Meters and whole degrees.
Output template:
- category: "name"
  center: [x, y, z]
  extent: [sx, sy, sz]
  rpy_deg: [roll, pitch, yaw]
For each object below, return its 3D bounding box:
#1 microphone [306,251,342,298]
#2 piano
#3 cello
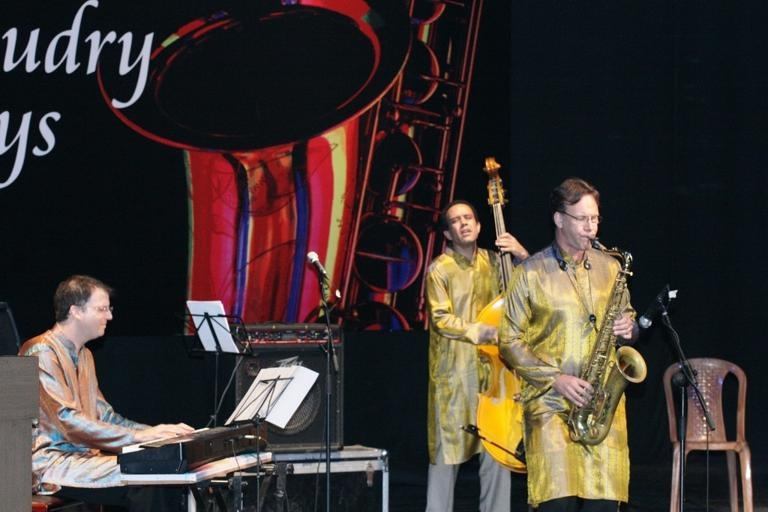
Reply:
- category: "microphone"
  center: [-0.522, 0.165, 10.547]
  extent: [0.147, 0.388, 0.148]
  rpy_deg: [-5, -29, -48]
- category: "piano"
  center: [-1.380, 1.389, 9.238]
  extent: [1.038, 0.387, 0.373]
  rpy_deg: [8, -10, -38]
- category: "cello"
  center: [0.914, 0.539, 10.084]
  extent: [0.407, 2.255, 0.416]
  rpy_deg: [6, 5, 39]
